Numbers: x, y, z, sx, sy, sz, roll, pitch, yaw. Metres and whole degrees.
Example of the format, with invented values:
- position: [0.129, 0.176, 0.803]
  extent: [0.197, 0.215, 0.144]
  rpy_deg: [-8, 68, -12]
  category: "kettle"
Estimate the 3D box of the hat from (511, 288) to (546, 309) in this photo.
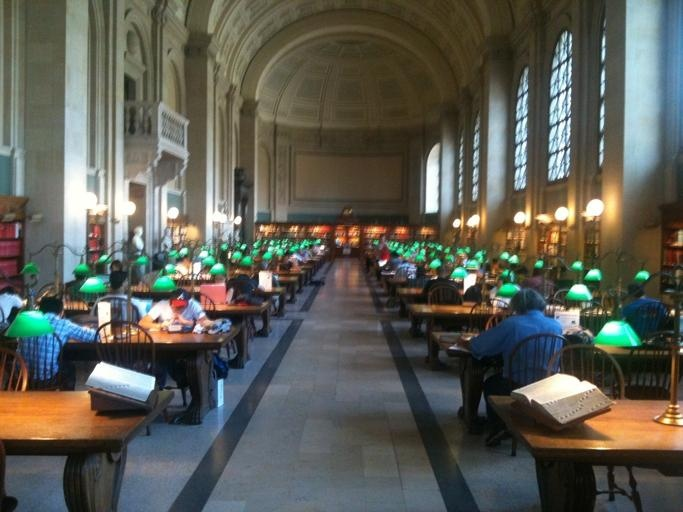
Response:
- position: [1.934, 0.456, 5.988]
  extent: [0.193, 0.247, 0.279]
  rpy_deg: [3, 8, 3]
  category: "hat"

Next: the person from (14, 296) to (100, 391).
- position: [-2.999, 0.979, 6.059]
  extent: [0.451, 1.151, 0.866]
  rpy_deg: [1, 7, 5]
  category: "person"

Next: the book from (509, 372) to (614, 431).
- position: [1.651, 1.088, 4.375]
  extent: [0.652, 0.339, 0.383]
  rpy_deg: [-1, 7, -11]
  category: "book"

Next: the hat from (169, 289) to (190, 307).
- position: [-2.026, 0.528, 7.252]
  extent: [0.174, 0.219, 0.254]
  rpy_deg: [2, -11, -6]
  category: "hat"

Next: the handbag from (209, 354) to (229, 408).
- position: [-1.490, 1.480, 7.081]
  extent: [0.174, 0.629, 0.435]
  rpy_deg: [-1, 7, -8]
  category: "handbag"
